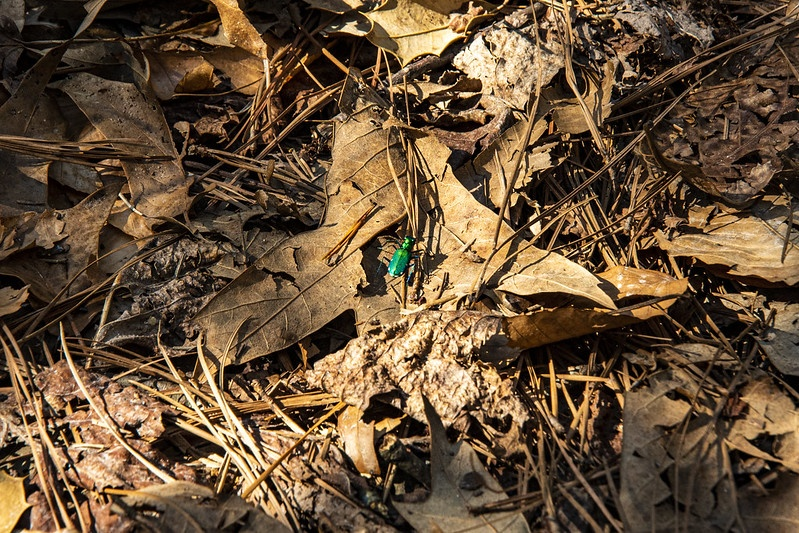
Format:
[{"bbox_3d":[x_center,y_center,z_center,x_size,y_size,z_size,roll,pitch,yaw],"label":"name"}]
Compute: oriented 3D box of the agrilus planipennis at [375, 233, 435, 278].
[{"bbox_3d":[0.018,-0.074,5.124,0.243,0.317,0.305,6,34,10],"label":"agrilus planipennis"}]
